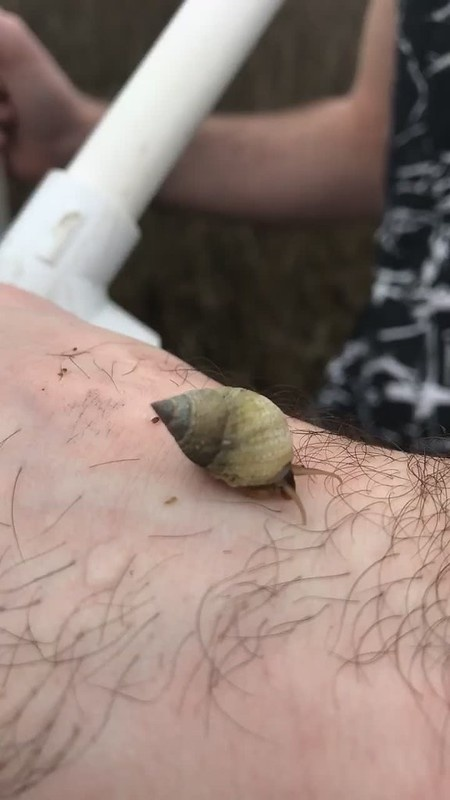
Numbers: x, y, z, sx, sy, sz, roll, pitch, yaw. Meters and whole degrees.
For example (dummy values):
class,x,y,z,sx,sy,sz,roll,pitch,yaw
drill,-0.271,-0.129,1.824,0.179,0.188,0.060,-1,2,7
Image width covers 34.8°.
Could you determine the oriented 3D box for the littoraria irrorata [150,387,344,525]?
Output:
class,x,y,z,sx,sy,sz,roll,pitch,yaw
littoraria irrorata,0.017,0.042,0.576,0.140,0.052,0.071,31,74,-2
